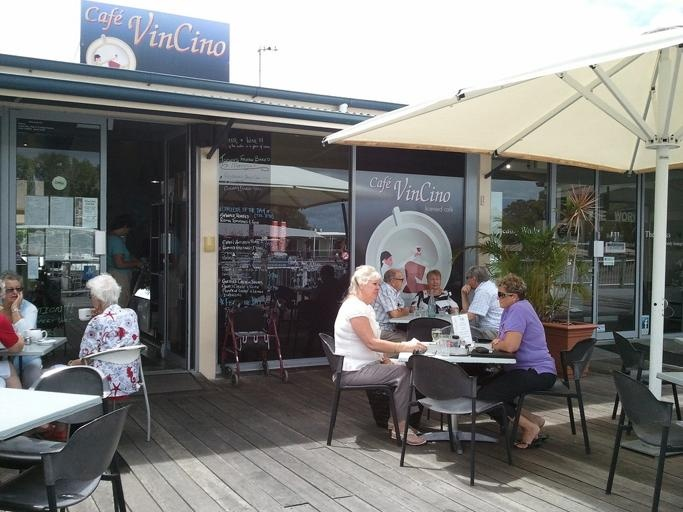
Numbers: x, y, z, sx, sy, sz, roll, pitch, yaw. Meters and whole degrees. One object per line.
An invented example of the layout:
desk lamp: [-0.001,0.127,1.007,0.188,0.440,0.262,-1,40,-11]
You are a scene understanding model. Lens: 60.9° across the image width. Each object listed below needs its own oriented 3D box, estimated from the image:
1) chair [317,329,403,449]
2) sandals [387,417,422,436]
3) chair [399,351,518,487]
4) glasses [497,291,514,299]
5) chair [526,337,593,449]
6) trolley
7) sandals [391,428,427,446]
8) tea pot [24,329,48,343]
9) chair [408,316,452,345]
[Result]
chair: [0.088,1.233,5.610,0.931,1.288,0.869,-2,-3,1]
sandals: [0.584,1.694,5.823,0.149,0.177,0.437,4,-8,-38]
chair: [0.991,1.348,5.118,0.943,1.052,0.929,-2,2,0]
glasses: [1.528,0.357,5.446,0.116,0.066,0.040,2,6,15]
chair: [2.164,1.322,5.825,0.766,1.014,0.792,3,0,-7]
trolley: [-1.134,1.142,7.998,0.755,1.015,1.025,1,-6,-22]
sandals: [0.607,1.733,5.565,0.360,0.146,0.177,5,-2,27]
tea pot: [-2.889,0.755,5.500,0.164,0.106,0.123,9,-11,-36]
chair: [0.913,0.798,6.224,0.288,0.374,0.307,0,-7,2]
